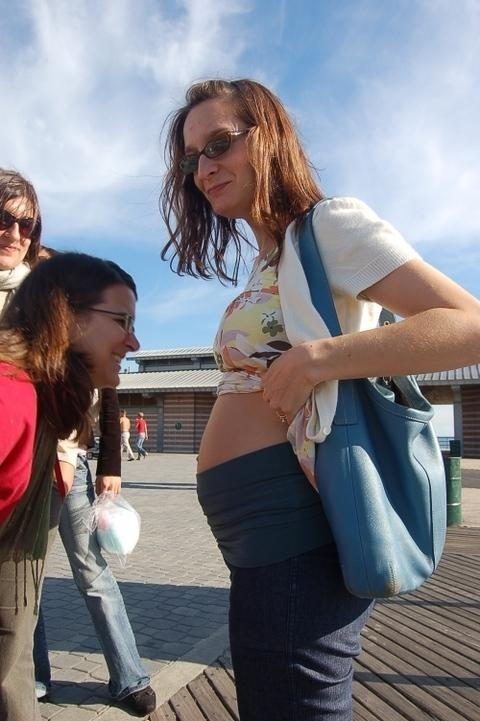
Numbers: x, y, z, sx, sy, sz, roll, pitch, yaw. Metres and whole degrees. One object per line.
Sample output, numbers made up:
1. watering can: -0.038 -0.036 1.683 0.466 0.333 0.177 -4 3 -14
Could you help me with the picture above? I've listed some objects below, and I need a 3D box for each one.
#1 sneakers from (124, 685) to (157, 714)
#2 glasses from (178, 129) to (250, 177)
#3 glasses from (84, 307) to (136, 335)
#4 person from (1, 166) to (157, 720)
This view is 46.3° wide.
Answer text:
1. sneakers: -0.441 1.497 2.475 0.108 0.079 0.155 3 -9 -31
2. glasses: -0.068 -0.589 1.588 0.165 0.049 0.162 -36 12 -34
3. glasses: -0.354 -0.105 1.486 0.137 0.035 0.133 7 -4 9
4. person: -0.787 0.287 2.569 0.707 2.511 0.695 -4 -8 13
